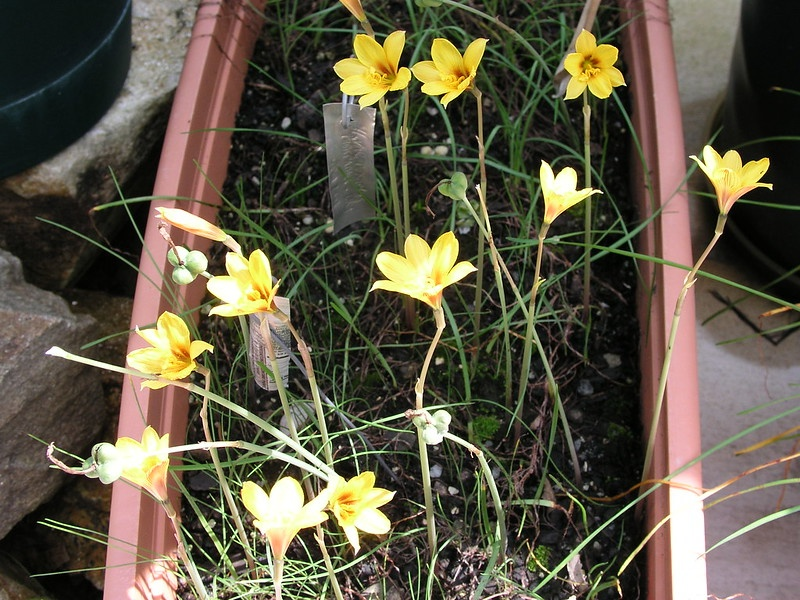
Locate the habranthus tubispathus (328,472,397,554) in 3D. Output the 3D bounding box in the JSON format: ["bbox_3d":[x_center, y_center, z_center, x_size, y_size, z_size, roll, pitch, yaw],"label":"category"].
[{"bbox_3d":[-0.046,0.256,0.900,0.076,0.070,0.075,-42,64,-12],"label":"habranthus tubispathus"}]

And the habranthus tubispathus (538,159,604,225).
[{"bbox_3d":[0.237,-0.156,0.995,0.058,0.064,0.077,10,40,-17],"label":"habranthus tubispathus"}]

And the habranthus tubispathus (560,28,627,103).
[{"bbox_3d":[0.301,-0.360,1.137,0.087,0.130,0.139,-1,63,9],"label":"habranthus tubispathus"}]

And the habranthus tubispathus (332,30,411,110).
[{"bbox_3d":[-0.040,-0.330,1.043,0.110,0.088,0.115,-11,62,4],"label":"habranthus tubispathus"}]

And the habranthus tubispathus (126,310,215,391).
[{"bbox_3d":[-0.283,0.067,0.911,0.110,0.096,0.085,-4,62,8],"label":"habranthus tubispathus"}]

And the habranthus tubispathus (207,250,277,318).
[{"bbox_3d":[-0.190,-0.004,0.886,0.069,0.050,0.090,-10,80,3],"label":"habranthus tubispathus"}]

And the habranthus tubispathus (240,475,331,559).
[{"bbox_3d":[-0.128,0.262,0.828,0.092,0.102,0.098,9,88,44],"label":"habranthus tubispathus"}]
